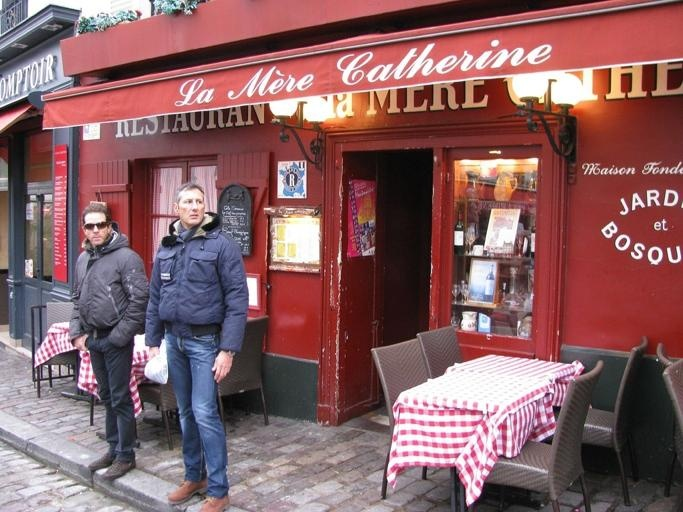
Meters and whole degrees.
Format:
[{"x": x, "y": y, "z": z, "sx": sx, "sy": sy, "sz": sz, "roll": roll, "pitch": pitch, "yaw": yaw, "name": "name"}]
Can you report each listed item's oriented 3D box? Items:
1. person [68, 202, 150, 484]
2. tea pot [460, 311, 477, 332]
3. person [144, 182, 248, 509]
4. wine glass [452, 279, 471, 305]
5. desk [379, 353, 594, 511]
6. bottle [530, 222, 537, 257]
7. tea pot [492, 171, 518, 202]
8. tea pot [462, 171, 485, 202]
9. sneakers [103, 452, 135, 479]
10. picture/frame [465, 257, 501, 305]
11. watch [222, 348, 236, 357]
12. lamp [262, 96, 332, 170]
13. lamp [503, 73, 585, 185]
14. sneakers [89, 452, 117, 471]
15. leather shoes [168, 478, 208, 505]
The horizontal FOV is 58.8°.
[{"x": -2.127, "y": 0.757, "z": 5.560, "sx": 0.821, "sy": 2.476, "sz": 0.387, "roll": 3, "pitch": 2, "yaw": 31, "name": "person"}, {"x": 1.305, "y": 0.668, "z": 6.164, "sx": 0.159, "sy": 0.180, "sz": 0.172, "roll": 1, "pitch": -4, "yaw": 0, "name": "tea pot"}, {"x": -1.172, "y": 0.719, "z": 4.925, "sx": 0.876, "sy": 2.620, "sz": 0.372, "roll": 3, "pitch": 2, "yaw": 31, "name": "person"}, {"x": 1.229, "y": 0.386, "z": 6.232, "sx": 0.188, "sy": 0.252, "sz": 0.203, "roll": 1, "pitch": 0, "yaw": -12, "name": "wine glass"}, {"x": 1.116, "y": 1.377, "z": 4.842, "sx": 1.516, "sy": 0.694, "sz": 0.911, "roll": 1, "pitch": 2, "yaw": -40, "name": "desk"}, {"x": 1.848, "y": -0.152, "z": 5.807, "sx": 0.032, "sy": 0.248, "sz": 0.100, "roll": 1, "pitch": 1, "yaw": -10, "name": "bottle"}, {"x": 1.623, "y": -0.690, "z": 5.983, "sx": 0.256, "sy": 0.287, "sz": 0.177, "roll": 10, "pitch": 11, "yaw": 43, "name": "tea pot"}, {"x": 1.341, "y": -0.710, "z": 6.129, "sx": 0.219, "sy": 0.423, "sz": 0.221, "roll": 1, "pitch": 1, "yaw": 0, "name": "tea pot"}, {"x": -2.012, "y": 1.905, "z": 5.488, "sx": 0.103, "sy": 0.120, "sz": 0.283, "roll": 3, "pitch": 6, "yaw": 27, "name": "sneakers"}, {"x": 1.453, "y": 0.248, "z": 6.123, "sx": 0.396, "sy": 0.655, "sz": 0.049, "roll": 4, "pitch": -1, "yaw": 36, "name": "picture/frame"}, {"x": -0.881, "y": 0.746, "z": 4.717, "sx": 0.071, "sy": 0.035, "sz": 0.075, "roll": 9, "pitch": 2, "yaw": 33, "name": "watch"}, {"x": -0.396, "y": -1.362, "z": 6.660, "sx": 0.540, "sy": 0.922, "sz": 0.824, "roll": 2, "pitch": -1, "yaw": 19, "name": "lamp"}, {"x": 1.791, "y": -1.160, "z": 5.260, "sx": 0.595, "sy": 0.733, "sz": 0.866, "roll": 2, "pitch": 2, "yaw": 21, "name": "lamp"}, {"x": -2.205, "y": 1.909, "z": 5.657, "sx": 0.108, "sy": 0.136, "sz": 0.314, "roll": 10, "pitch": 9, "yaw": 42, "name": "sneakers"}, {"x": -1.297, "y": 1.929, "z": 5.074, "sx": 0.333, "sy": 0.194, "sz": 0.136, "roll": -1, "pitch": 3, "yaw": -45, "name": "leather shoes"}]
